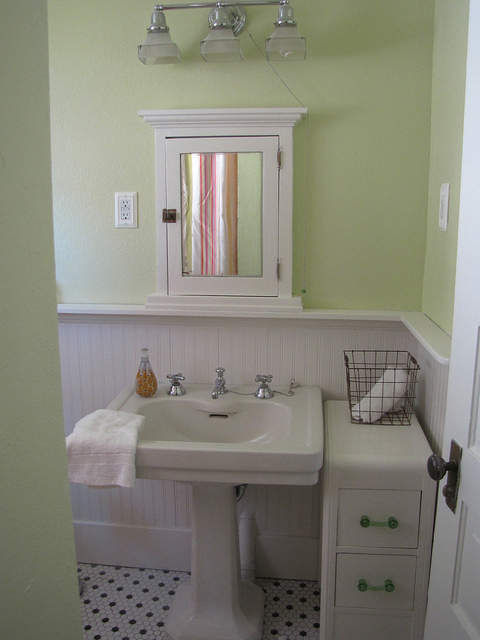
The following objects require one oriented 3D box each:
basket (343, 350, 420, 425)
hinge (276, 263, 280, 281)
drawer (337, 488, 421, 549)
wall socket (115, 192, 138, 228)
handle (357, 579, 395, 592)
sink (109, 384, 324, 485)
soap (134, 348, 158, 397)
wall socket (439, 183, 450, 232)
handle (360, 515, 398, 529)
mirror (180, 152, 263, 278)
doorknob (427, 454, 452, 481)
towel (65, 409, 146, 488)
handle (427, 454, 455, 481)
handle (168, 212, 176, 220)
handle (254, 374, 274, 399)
[{"bbox_3d":[0.508,0.212,1.843,0.154,0.214,0.208,-6,-2,-35],"label":"basket"},{"bbox_3d":[0.137,-0.172,1.926,0.012,0.058,0.004,-1,9,0],"label":"hinge"},{"bbox_3d":[0.400,0.567,1.546,0.218,0.195,0.159,0,2,5],"label":"drawer"},{"bbox_3d":[-0.417,-0.409,1.987,0.099,0.185,0.018,0,10,1],"label":"wall socket"},{"bbox_3d":[0.396,0.771,1.564,0.101,0.033,0.043,0,-35,12],"label":"handle"},{"bbox_3d":[-0.081,0.336,1.757,0.688,0.177,0.557,0,10,8],"label":"sink"},{"bbox_3d":[-0.344,0.175,1.942,0.079,0.159,0.206,-3,10,-12],"label":"soap"},{"bbox_3d":[0.615,-0.342,1.634,0.005,0.144,0.118,5,8,38],"label":"wall socket"},{"bbox_3d":[0.398,0.576,1.535,0.086,0.038,0.022,0,9,9],"label":"handle"},{"bbox_3d":[-0.064,-0.364,1.926,0.376,0.643,0.016,-1,45,-3],"label":"mirror"},{"bbox_3d":[0.360,0.263,0.985,0.037,0.047,0.038,0,7,-8],"label":"doorknob"},{"bbox_3d":[-0.381,0.382,1.630,0.221,0.166,0.234,1,10,12],"label":"towel"},{"bbox_3d":[0.374,0.273,1.005,0.040,0.050,0.039,-2,-15,2],"label":"handle"},{"bbox_3d":[-0.244,-0.372,1.939,0.030,0.035,0.020,0,35,-3],"label":"handle"},{"bbox_3d":[0.085,0.236,1.865,0.063,0.082,0.071,-1,11,-1],"label":"handle"}]
